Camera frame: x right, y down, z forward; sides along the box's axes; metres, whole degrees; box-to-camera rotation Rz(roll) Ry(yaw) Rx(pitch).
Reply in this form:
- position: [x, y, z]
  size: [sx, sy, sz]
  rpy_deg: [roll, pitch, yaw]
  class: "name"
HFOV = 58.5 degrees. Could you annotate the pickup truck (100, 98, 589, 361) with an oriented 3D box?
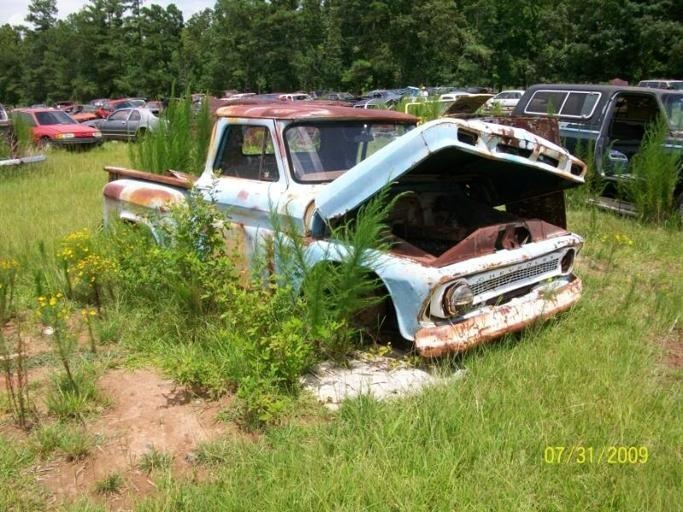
- position: [0.110, -0.642, 6.273]
  size: [3.905, 1.836, 2.329]
  rpy_deg: [19, 26, 38]
  class: "pickup truck"
